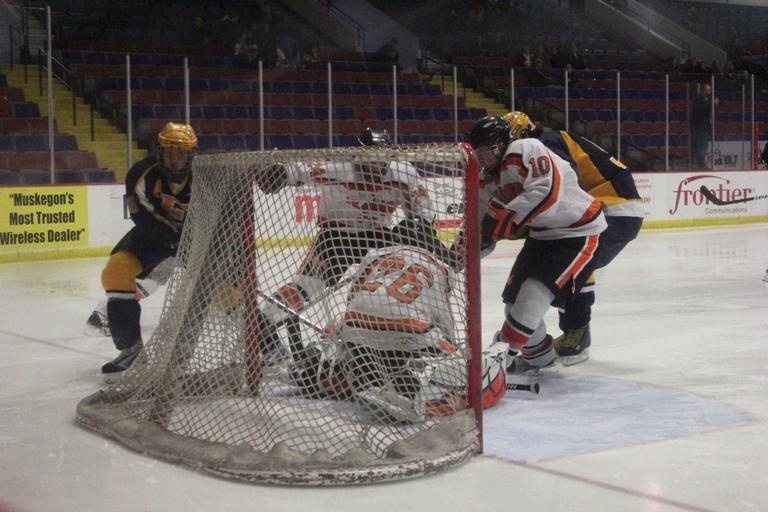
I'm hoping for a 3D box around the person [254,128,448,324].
[{"bbox_3d":[-0.242,-0.153,7.440,1.489,1.451,0.961,13,7,-6],"label":"person"}]

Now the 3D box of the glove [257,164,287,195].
[{"bbox_3d":[-0.824,-0.563,7.516,0.223,0.209,0.207,0,6,-7],"label":"glove"}]

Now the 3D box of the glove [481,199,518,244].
[{"bbox_3d":[0.854,-0.231,7.794,0.261,0.290,0.195,2,6,3],"label":"glove"}]

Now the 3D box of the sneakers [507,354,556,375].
[{"bbox_3d":[1.142,0.848,8.180,0.292,0.077,0.178,-6,-1,-4],"label":"sneakers"}]

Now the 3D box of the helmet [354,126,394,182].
[{"bbox_3d":[-0.066,-0.690,7.384,0.229,0.332,0.238,3,40,3],"label":"helmet"}]

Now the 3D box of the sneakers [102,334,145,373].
[{"bbox_3d":[-2.089,0.789,8.173,0.312,0.266,0.198,1,6,-5],"label":"sneakers"}]

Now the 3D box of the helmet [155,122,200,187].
[{"bbox_3d":[-1.650,-0.816,8.177,0.298,0.481,0.253,0,7,-11],"label":"helmet"}]
